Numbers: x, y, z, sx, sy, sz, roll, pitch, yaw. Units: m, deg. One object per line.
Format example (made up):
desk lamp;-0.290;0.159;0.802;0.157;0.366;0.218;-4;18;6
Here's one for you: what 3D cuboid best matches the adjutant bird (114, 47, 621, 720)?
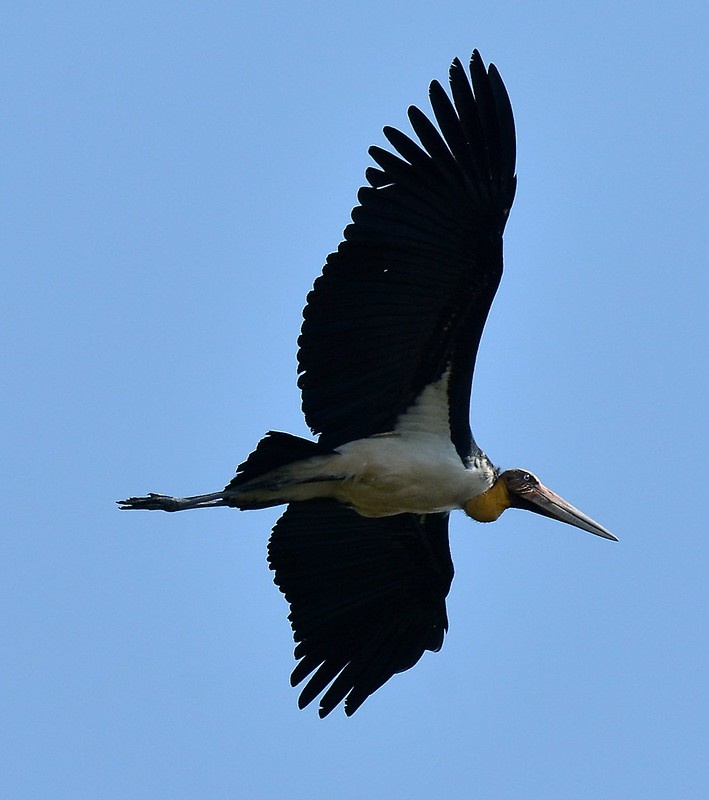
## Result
adjutant bird;0.086;0.454;9.641;2.840;5.178;1.431;6;-36;2
